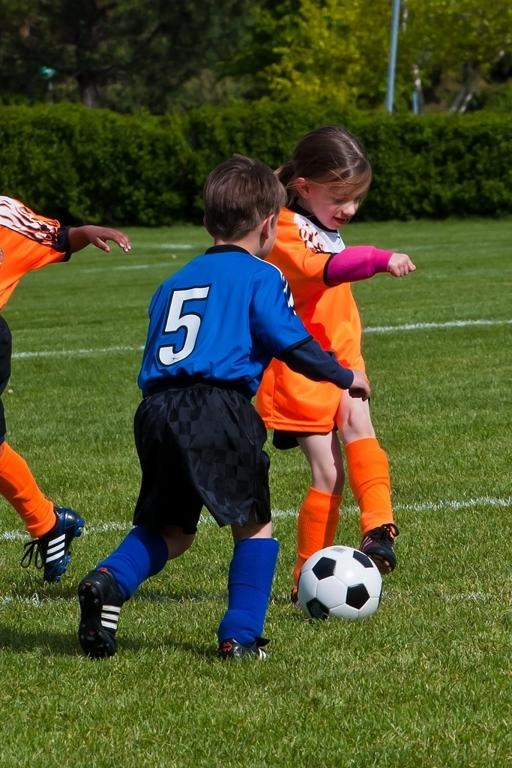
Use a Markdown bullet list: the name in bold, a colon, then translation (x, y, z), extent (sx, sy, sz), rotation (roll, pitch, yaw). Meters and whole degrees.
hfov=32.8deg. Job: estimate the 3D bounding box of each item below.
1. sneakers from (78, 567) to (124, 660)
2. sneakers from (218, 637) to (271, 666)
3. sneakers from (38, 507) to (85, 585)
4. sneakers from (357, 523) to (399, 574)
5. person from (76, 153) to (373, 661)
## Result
- **sneakers**: translation (-0.361, 0.573, 2.136), extent (0.089, 0.242, 0.122), rotation (-1, 18, 6)
- **sneakers**: translation (-0.033, 0.653, 2.171), extent (0.143, 0.058, 0.050), rotation (-3, 8, -44)
- **sneakers**: translation (-0.743, 0.610, 3.301), extent (0.165, 0.307, 0.107), rotation (8, 1, -19)
- **sneakers**: translation (0.388, 0.507, 2.733), extent (0.075, 0.092, 0.211), rotation (12, -24, 5)
- **person**: translation (-0.109, 0.035, 2.246), extent (0.747, 1.021, 0.378), rotation (-3, 1, -12)
